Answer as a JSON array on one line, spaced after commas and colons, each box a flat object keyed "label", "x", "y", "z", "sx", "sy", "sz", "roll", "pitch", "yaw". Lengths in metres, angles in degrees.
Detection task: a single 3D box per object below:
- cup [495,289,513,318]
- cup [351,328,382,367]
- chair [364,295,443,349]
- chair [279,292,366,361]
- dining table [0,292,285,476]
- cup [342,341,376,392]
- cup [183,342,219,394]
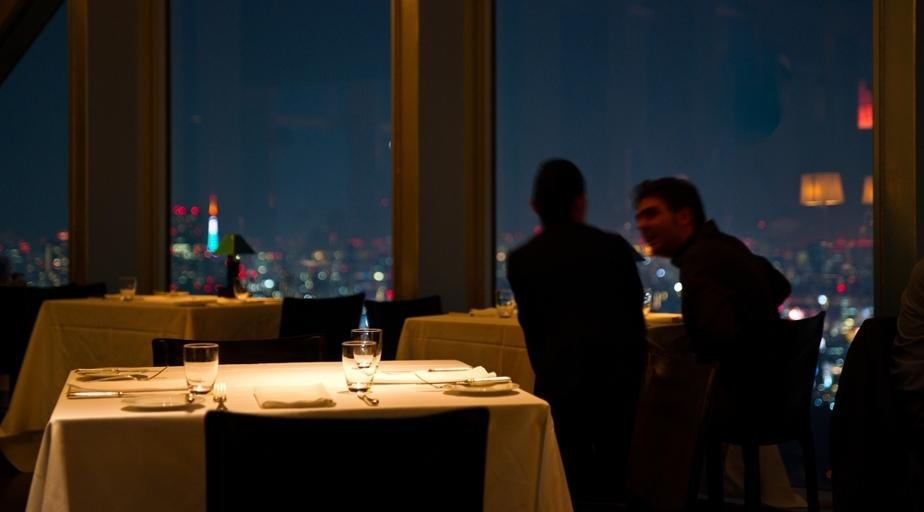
[{"label": "cup", "x": 0.317, "y": 0.380, "z": 6.058, "sx": 0.186, "sy": 0.202, "sz": 0.182, "roll": -1, "pitch": -7, "yaw": 0}, {"label": "cup", "x": -0.543, "y": 0.548, "z": 4.436, "sx": 0.183, "sy": 0.211, "sz": 0.193, "roll": 0, "pitch": -6, "yaw": 0}, {"label": "chair", "x": -0.494, "y": 0.581, "z": 6.785, "sx": 0.543, "sy": 0.608, "sz": 0.465, "roll": 0, "pitch": -3, "yaw": -10}, {"label": "chair", "x": -1.234, "y": 0.631, "z": 6.888, "sx": 0.624, "sy": 0.729, "sz": 0.612, "roll": 0, "pitch": -15, "yaw": 8}, {"label": "dining table", "x": -2.723, "y": 1.033, "z": 6.537, "sx": 1.611, "sy": 0.880, "sz": 1.596, "roll": 1, "pitch": 0, "yaw": -5}, {"label": "cup", "x": -0.577, "y": 0.627, "z": 4.471, "sx": 0.264, "sy": 0.299, "sz": 0.254, "roll": 0, "pitch": 4, "yaw": 0}, {"label": "cup", "x": -1.442, "y": 0.627, "z": 4.256, "sx": 0.261, "sy": 0.285, "sz": 0.227, "roll": -3, "pitch": 5, "yaw": -26}]
